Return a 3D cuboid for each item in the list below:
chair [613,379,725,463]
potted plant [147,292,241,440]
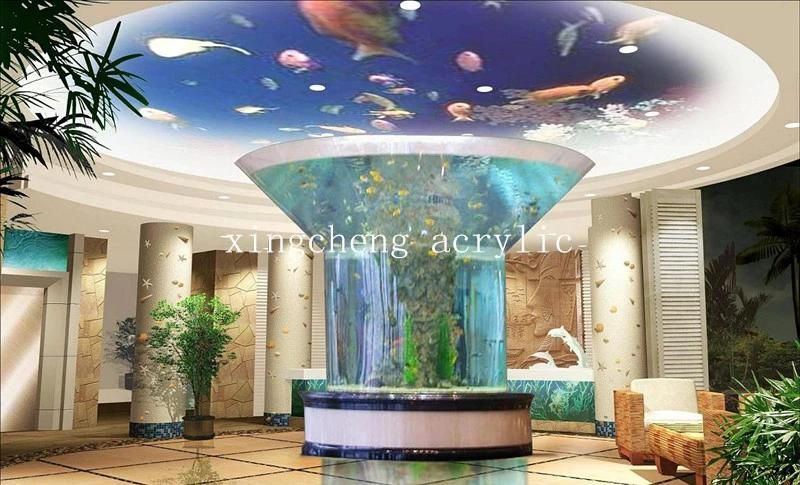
[{"bbox_3d":[3.227,2.087,5.916,1.099,0.697,1.008,-6,-8,28],"label":"chair"},{"bbox_3d":[-3.656,2.088,8.546,1.468,2.349,0.825,4,-15,-13],"label":"potted plant"}]
